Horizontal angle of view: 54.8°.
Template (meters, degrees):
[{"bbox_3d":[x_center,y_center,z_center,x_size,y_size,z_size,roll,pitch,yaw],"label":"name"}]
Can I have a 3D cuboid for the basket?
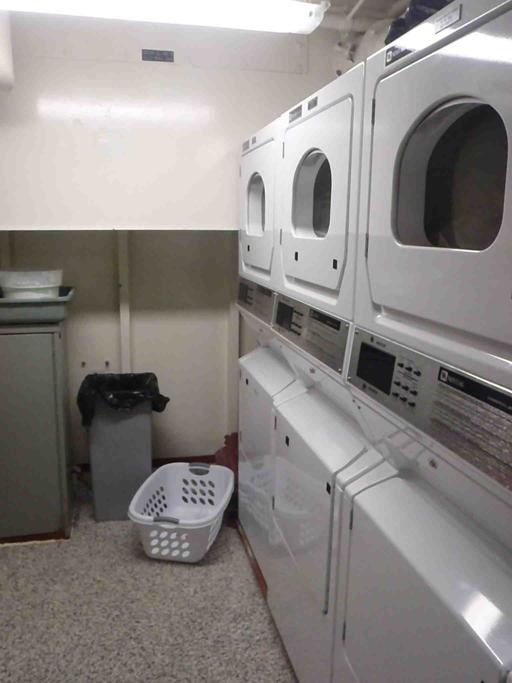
[{"bbox_3d":[-0.368,0.915,2.658,0.483,0.331,0.611,0,11,1],"label":"basket"}]
